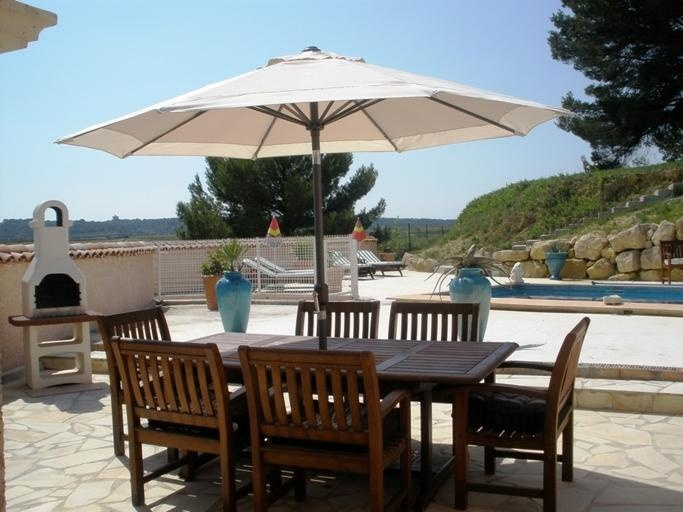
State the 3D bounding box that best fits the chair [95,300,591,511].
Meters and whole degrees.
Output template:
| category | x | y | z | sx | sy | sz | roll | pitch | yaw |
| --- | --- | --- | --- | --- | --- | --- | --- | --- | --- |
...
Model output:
| category | x | y | z | sx | sy | sz | roll | pitch | yaw |
| --- | --- | --- | --- | --- | --- | --- | --- | --- | --- |
| chair | 0.607 | 1.139 | 4.420 | 2.386 | 1.341 | 1.238 | 0 | 2 | 24 |
